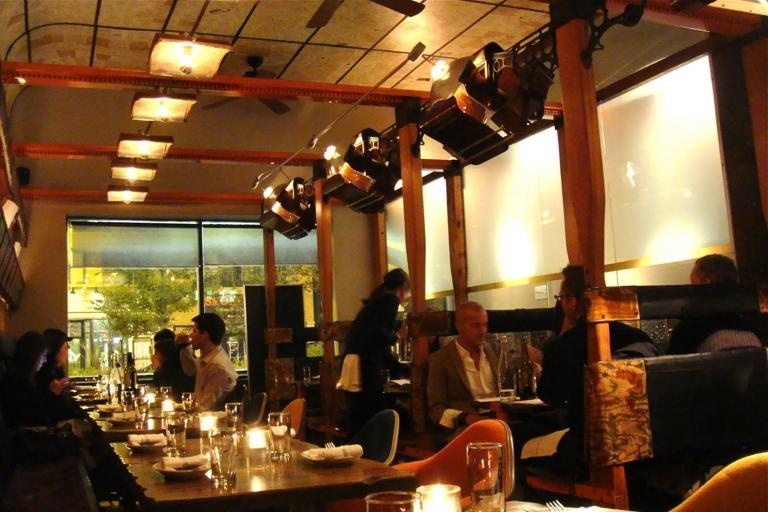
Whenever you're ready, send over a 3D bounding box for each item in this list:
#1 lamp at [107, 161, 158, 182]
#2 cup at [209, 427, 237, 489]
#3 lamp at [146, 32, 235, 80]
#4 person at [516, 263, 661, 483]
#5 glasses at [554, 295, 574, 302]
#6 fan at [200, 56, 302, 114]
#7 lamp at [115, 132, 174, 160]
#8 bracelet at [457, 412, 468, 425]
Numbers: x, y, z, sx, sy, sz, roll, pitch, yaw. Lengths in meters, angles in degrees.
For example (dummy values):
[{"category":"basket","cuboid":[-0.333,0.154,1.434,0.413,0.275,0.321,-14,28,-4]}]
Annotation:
[{"category":"lamp","cuboid":[-3.355,-1.165,8.638,0.521,0.227,0.466,-1,-7,-25]},{"category":"cup","cuboid":[-0.883,1.106,3.553,0.138,0.322,0.181,-3,-7,-16]},{"category":"lamp","cuboid":[-1.874,-1.887,6.162,0.685,0.189,0.827,-2,-7,-25]},{"category":"person","cuboid":[1.554,0.748,5.340,0.869,1.282,1.075,-9,6,-25]},{"category":"glasses","cuboid":[1.585,0.372,5.643,0.196,0.057,0.189,4,-5,-2]},{"category":"fan","cuboid":[-2.201,-2.675,10.538,1.195,0.542,2.148,-4,-7,-6]},{"category":"lamp","cuboid":[-2.948,-1.358,7.918,0.570,0.168,0.761,-1,-7,-26]},{"category":"bracelet","cuboid":[0.691,1.446,5.686,0.092,0.047,0.124,10,-4,-1]}]
